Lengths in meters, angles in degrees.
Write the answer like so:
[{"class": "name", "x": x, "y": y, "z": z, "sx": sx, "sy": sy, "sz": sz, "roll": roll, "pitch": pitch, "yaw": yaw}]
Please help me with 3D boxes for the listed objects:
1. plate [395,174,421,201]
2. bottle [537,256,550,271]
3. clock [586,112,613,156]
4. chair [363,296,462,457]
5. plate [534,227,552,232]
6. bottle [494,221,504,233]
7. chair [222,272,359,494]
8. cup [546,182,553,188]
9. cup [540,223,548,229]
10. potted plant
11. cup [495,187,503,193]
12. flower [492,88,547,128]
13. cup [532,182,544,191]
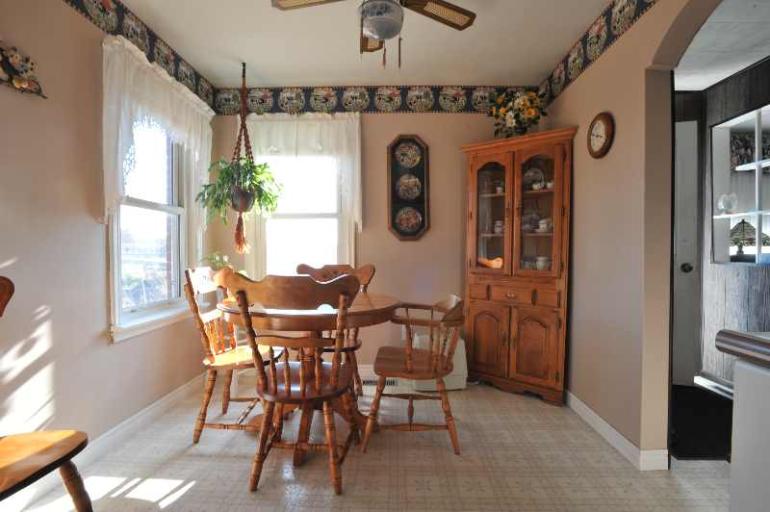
[{"class": "plate", "x": 0.252, "y": -0.693, "z": 5.699, "sx": 0.251, "sy": 0.259, "sz": 0.035, "roll": 2, "pitch": 6, "yaw": -1}, {"class": "bottle", "x": 1.457, "y": 0.068, "z": 5.137, "sx": 0.116, "sy": 0.132, "sz": 0.117, "roll": -1, "pitch": 5, "yaw": -10}, {"class": "clock", "x": 1.780, "y": -0.995, "z": 4.627, "sx": 0.061, "sy": 0.376, "sz": 0.302, "roll": -1, "pitch": 3, "yaw": -13}, {"class": "chair", "x": 0.237, "y": 0.921, "z": 4.585, "sx": 0.879, "sy": 1.126, "sz": 0.834, "roll": 3, "pitch": 5, "yaw": 11}, {"class": "plate", "x": 1.453, "y": -0.236, "z": 5.150, "sx": 0.139, "sy": 0.048, "sz": 0.038, "roll": 2, "pitch": 4, "yaw": 39}, {"class": "bottle", "x": 1.095, "y": -0.284, "z": 5.366, "sx": 0.103, "sy": 0.103, "sz": 0.079, "roll": 1, "pitch": 0, "yaw": 6}, {"class": "chair", "x": -0.641, "y": 0.879, "z": 4.271, "sx": 0.906, "sy": 1.578, "sz": 0.846, "roll": -1, "pitch": 3, "yaw": -4}, {"class": "cup", "x": 1.508, "y": -0.654, "z": 5.122, "sx": 0.051, "sy": 0.040, "sz": 0.050, "roll": -2, "pitch": 5, "yaw": 0}, {"class": "cup", "x": 1.461, "y": -0.279, "z": 5.158, "sx": 0.053, "sy": 0.053, "sz": 0.055, "roll": 1, "pitch": 1, "yaw": 0}, {"class": "potted plant", "x": -1.388, "y": -0.663, "z": 5.371, "sx": 0.738, "sy": 0.600, "sz": 0.560, "roll": 1, "pitch": 3, "yaw": 21}, {"class": "cup", "x": 1.099, "y": -0.629, "z": 5.353, "sx": 0.060, "sy": 0.046, "sz": 0.056, "roll": -2, "pitch": 0, "yaw": 0}, {"class": "flower", "x": 1.257, "y": -1.382, "z": 5.293, "sx": 0.422, "sy": 0.263, "sz": 0.432, "roll": -2, "pitch": 15, "yaw": 16}, {"class": "cup", "x": 1.422, "y": -0.644, "z": 5.184, "sx": 0.087, "sy": 0.065, "sz": 0.087, "roll": 0, "pitch": 7, "yaw": 0}]
